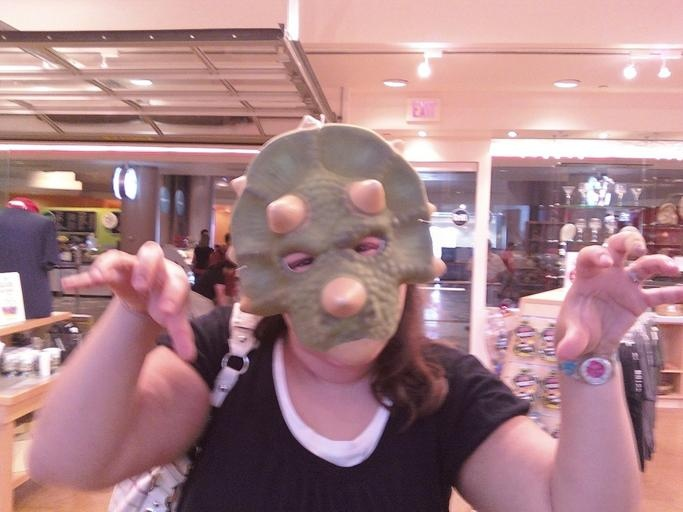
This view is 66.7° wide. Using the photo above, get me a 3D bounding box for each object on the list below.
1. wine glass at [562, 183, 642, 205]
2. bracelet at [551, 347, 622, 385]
[{"bbox_3d":[2.547,-0.630,5.020,0.607,0.246,0.139,-1,-4,-2],"label":"wine glass"},{"bbox_3d":[0.480,0.224,0.996,0.079,0.078,0.020,-6,3,4],"label":"bracelet"}]
